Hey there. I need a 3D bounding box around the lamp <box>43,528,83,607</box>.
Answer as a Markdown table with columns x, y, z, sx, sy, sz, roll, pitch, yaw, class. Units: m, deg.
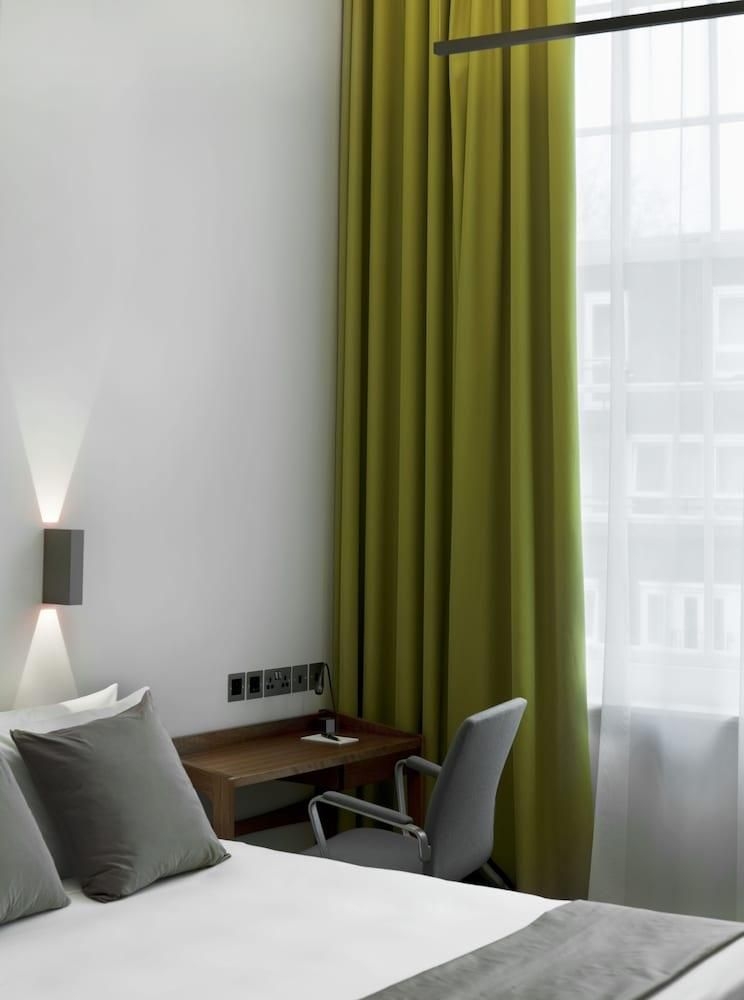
| x | y | z | sx | sy | sz | roll | pitch | yaw | class |
| --- | --- | --- | --- | --- | --- | --- | --- | --- | --- |
| -0.840 | 0.186 | 2.267 | 0.132 | 0.213 | 0.113 | -4 | -7 | 40 | lamp |
